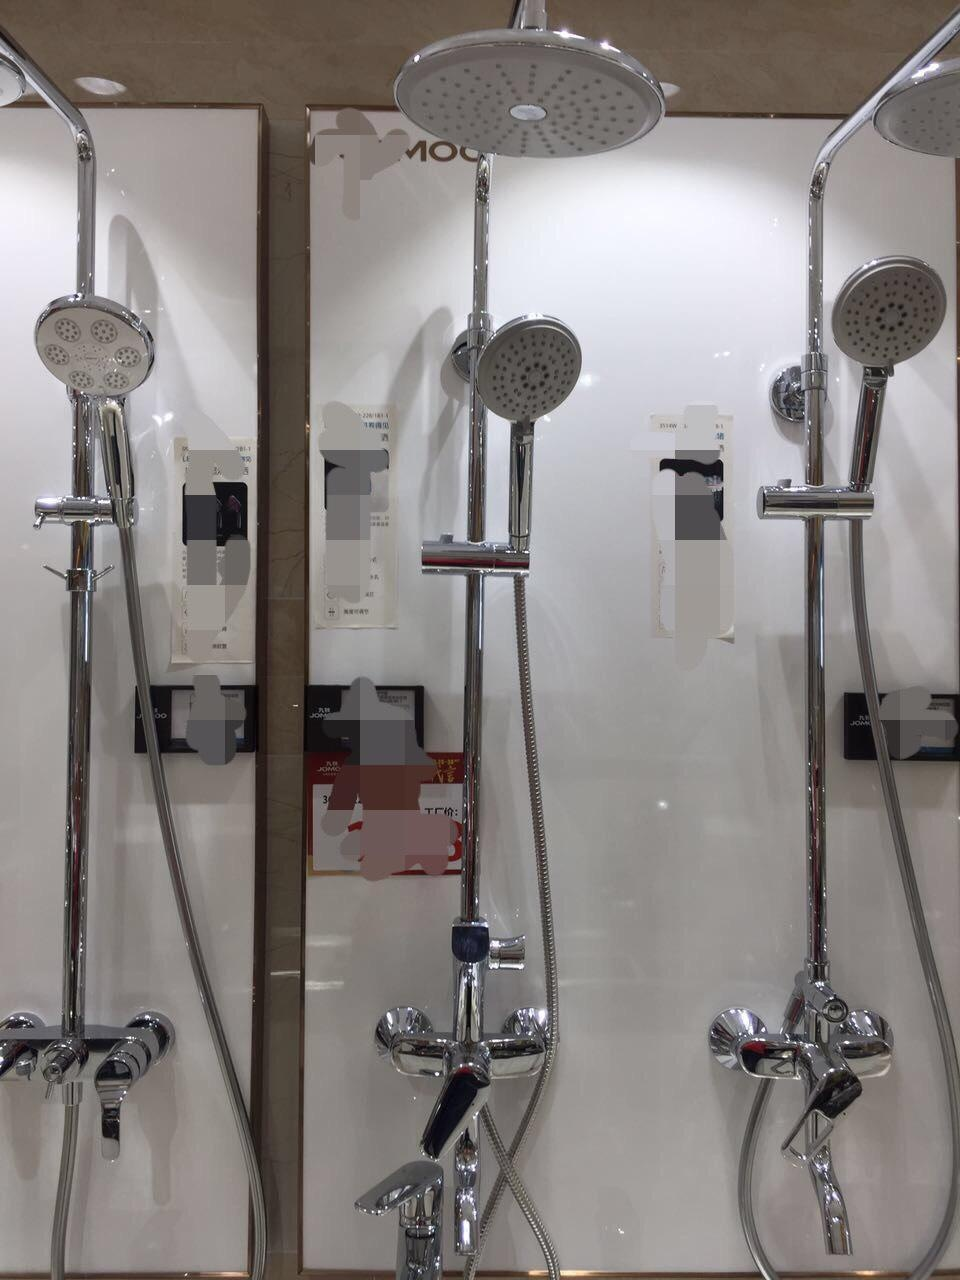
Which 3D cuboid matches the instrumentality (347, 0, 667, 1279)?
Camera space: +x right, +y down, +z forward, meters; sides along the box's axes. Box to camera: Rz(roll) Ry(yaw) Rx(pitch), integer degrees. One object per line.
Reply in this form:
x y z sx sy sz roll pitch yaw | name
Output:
0.012 0.059 1.366 0.271 1.316 0.434 0 0 -8 | instrumentality
